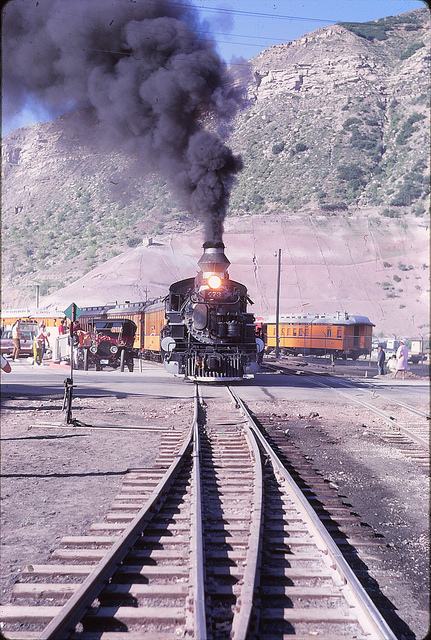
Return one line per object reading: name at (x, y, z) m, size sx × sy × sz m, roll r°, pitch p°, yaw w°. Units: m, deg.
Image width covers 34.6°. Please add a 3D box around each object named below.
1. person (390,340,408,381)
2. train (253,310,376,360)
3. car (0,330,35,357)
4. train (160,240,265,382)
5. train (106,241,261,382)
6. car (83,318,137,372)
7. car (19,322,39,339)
person at (6.724, 1.466, 25.480) m, size 0.657 × 1.489 × 0.484 m, roll 8°, pitch -14°, yaw -6°
train at (6.397, 1.062, 48.516) m, size 2.654 × 3.196 × 10.315 m, roll 4°, pitch -2°, yaw -32°
car at (-9.595, 1.163, 33.590) m, size 1.279 × 0.912 × 2.789 m, roll 0°, pitch -4°, yaw -4°
train at (-0.149, 0.136, 18.350) m, size 1.866 × 2.467 × 4.808 m, roll 1°, pitch 4°, yaw -3°
train at (-0.422, 0.235, 23.835) m, size 2.873 × 4.143 × 11.435 m, roll 0°, pitch -1°, yaw -7°
car at (-4.176, 1.029, 27.215) m, size 1.816 × 2.050 × 1.845 m, roll -1°, pitch -3°, yaw 2°
car at (-10.859, 0.457, 40.564) m, size 1.150 × 1.028 × 1.880 m, roll 0°, pitch 10°, yaw -8°
